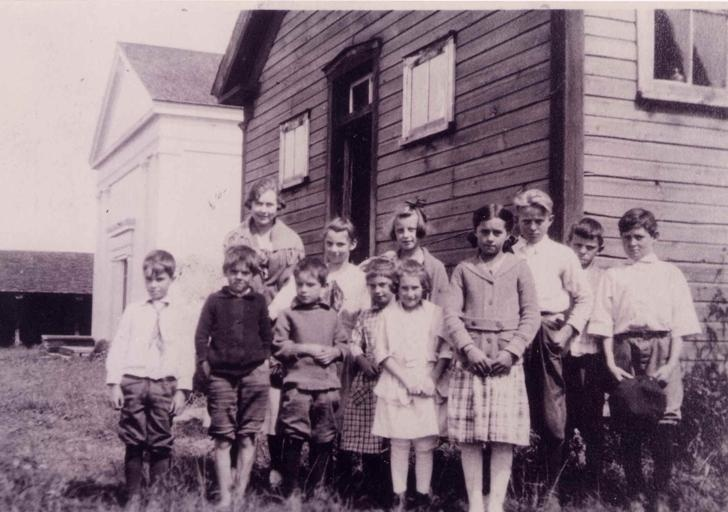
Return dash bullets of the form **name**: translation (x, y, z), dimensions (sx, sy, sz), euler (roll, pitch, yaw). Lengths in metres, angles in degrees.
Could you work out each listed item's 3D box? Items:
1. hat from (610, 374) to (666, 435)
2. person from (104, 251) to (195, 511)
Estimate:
- **hat**: translation (2.072, 1.115, 5.445), dimensions (0.344, 0.417, 0.450), euler (6, 13, 36)
- **person**: translation (-1.650, 0.929, 5.490), dimensions (0.594, 1.905, 0.365), euler (-3, -14, 13)
